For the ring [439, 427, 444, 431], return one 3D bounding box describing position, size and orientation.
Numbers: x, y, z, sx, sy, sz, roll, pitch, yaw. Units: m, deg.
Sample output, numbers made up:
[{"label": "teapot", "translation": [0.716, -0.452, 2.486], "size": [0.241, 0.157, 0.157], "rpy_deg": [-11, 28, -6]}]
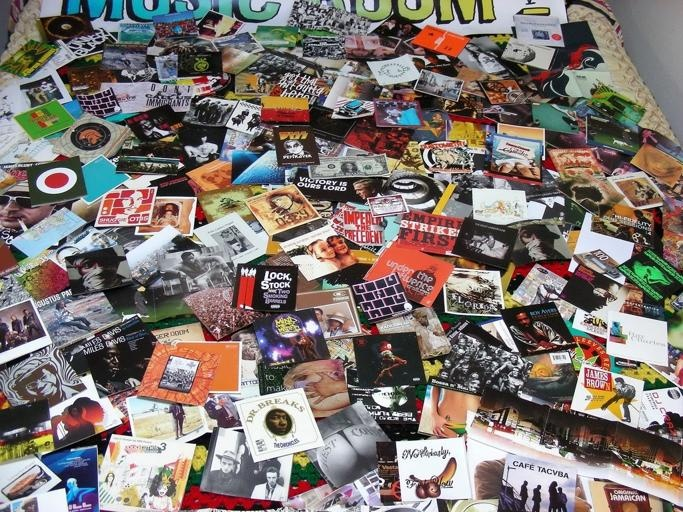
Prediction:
[{"label": "ring", "translation": [0.395, 0.680, 1.987], "size": [0.017, 0.004, 0.015], "rpy_deg": [25, 65, 17]}]
